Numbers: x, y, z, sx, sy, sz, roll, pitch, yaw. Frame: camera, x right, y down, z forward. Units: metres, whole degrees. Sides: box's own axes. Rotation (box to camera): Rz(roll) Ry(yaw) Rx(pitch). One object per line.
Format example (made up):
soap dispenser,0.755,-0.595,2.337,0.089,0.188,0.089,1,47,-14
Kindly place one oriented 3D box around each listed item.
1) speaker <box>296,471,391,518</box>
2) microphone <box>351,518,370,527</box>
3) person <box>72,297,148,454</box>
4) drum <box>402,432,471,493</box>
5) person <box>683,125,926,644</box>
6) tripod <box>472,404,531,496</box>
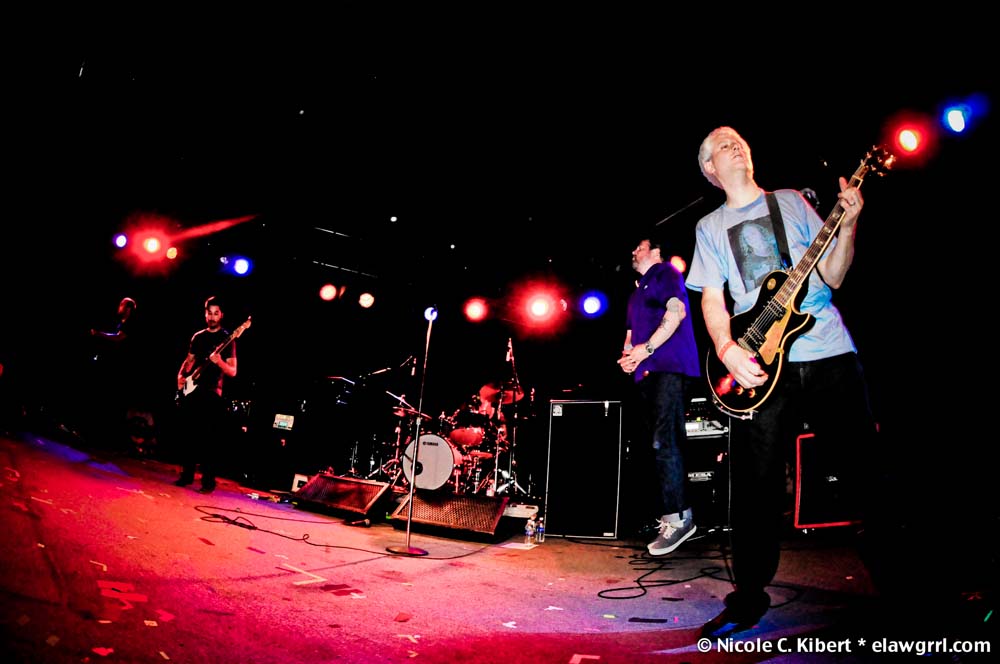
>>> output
speaker,-1.794,1.842,7.542,1.299,0.532,0.272,-11,-32,37
microphone,-1.451,2.000,6.980,0.191,0.094,0.095,8,-68,-6
person,-6.012,0.586,10.400,1.057,2.276,0.477,24,-29,-28
drum,-0.976,1.600,8.257,0.757,0.672,0.387,9,-11,-37
person,1.944,0.258,4.626,1.210,3.515,1.279,-5,-29,28
tripod,-0.006,1.664,9.294,1.063,1.176,1.218,7,-16,6
